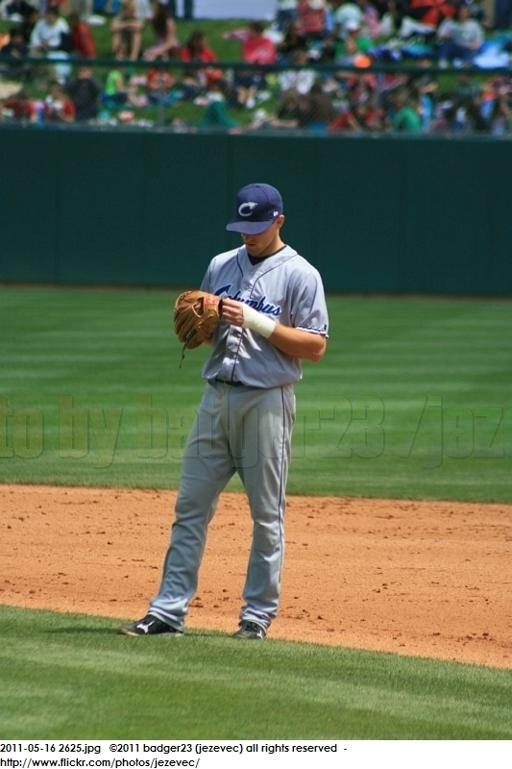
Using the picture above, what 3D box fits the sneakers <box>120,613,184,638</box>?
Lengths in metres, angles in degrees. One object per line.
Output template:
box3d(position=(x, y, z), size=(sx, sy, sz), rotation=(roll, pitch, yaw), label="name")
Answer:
box3d(position=(-0.399, 0.927, 5.522), size=(0.232, 0.089, 0.091), rotation=(9, 2, -10), label="sneakers")

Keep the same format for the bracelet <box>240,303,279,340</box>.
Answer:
box3d(position=(0.006, -0.235, 5.533), size=(0.161, 0.092, 0.068), rotation=(34, -27, -15), label="bracelet")

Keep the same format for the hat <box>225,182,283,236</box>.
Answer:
box3d(position=(-0.006, -0.683, 5.662), size=(0.204, 0.194, 0.281), rotation=(1, 9, -2), label="hat")

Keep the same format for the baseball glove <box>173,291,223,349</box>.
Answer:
box3d(position=(-0.225, -0.270, 5.693), size=(0.148, 0.081, 0.196), rotation=(6, -29, -26), label="baseball glove")

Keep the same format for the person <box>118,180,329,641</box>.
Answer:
box3d(position=(-0.089, 0.152, 5.677), size=(0.739, 1.854, 0.519), rotation=(-1, 9, -15), label="person")
